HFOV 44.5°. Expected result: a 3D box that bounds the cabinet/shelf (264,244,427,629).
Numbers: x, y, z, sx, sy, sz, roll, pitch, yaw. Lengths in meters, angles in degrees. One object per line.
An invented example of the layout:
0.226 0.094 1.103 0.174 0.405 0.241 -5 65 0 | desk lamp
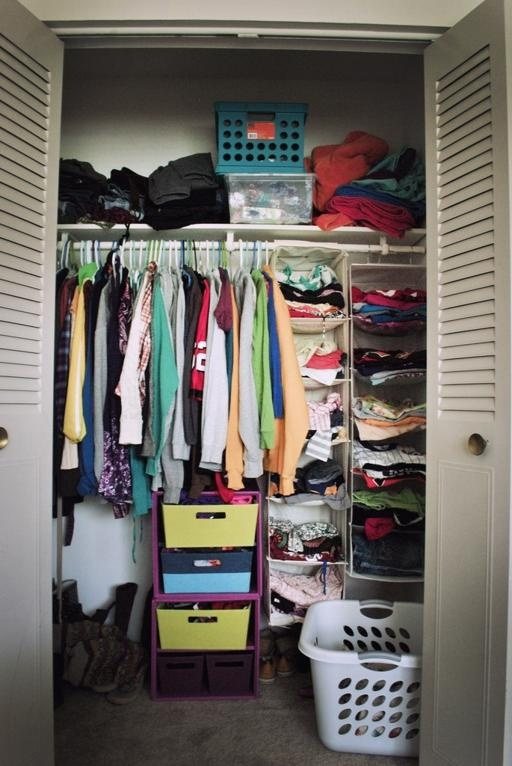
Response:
0.345 0.202 2.489 0.641 1.509 0.525 1 5 15 | cabinet/shelf

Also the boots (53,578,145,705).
-0.613 0.959 2.325 0.276 0.380 0.174 1 -26 -27 | boots

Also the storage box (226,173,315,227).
0.048 -0.686 2.338 0.314 0.171 0.064 0 5 -4 | storage box

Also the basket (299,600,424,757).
0.347 0.945 2.049 0.374 0.354 0.470 2 6 15 | basket

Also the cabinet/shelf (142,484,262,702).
-0.184 0.735 2.243 0.396 0.715 0.226 0 5 -4 | cabinet/shelf

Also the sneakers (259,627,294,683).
0.079 1.024 2.339 0.131 0.132 0.148 0 5 2 | sneakers
